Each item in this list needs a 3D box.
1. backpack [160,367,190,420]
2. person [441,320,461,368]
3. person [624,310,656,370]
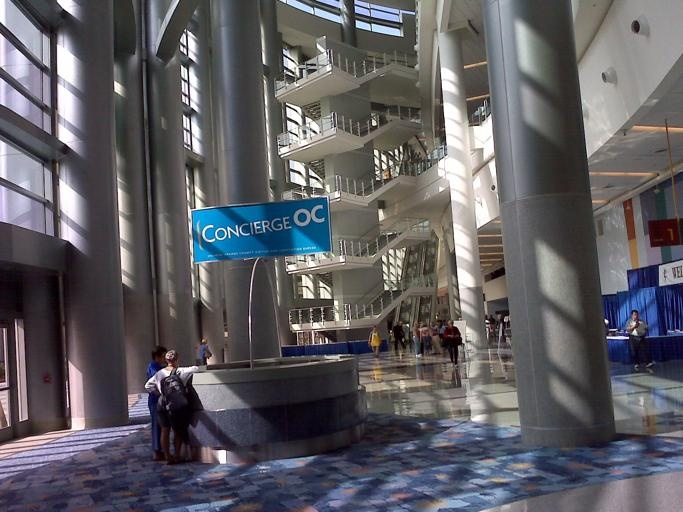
[{"bbox_3d":[-2.521,2.120,8.097,0.467,0.730,0.396,-10,-24,-13],"label":"backpack"},{"bbox_3d":[4.166,3.238,20.114,0.640,1.652,2.413,-6,-11,11],"label":"person"},{"bbox_3d":[8.136,2.273,14.614,0.508,1.556,1.986,-10,-12,28],"label":"person"}]
